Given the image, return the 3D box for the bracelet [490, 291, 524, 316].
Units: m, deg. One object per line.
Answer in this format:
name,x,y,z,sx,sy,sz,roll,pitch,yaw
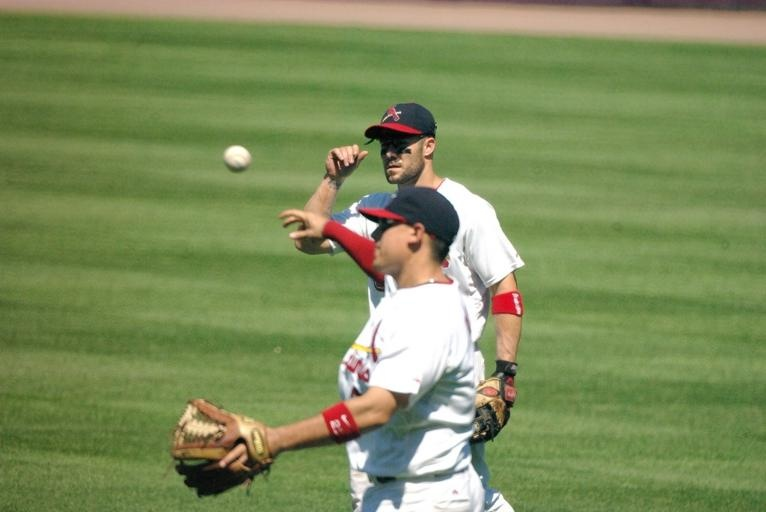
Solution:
bracelet,1.612,0.604,22.106,0.340,0.250,0.331,-3,1,-9
